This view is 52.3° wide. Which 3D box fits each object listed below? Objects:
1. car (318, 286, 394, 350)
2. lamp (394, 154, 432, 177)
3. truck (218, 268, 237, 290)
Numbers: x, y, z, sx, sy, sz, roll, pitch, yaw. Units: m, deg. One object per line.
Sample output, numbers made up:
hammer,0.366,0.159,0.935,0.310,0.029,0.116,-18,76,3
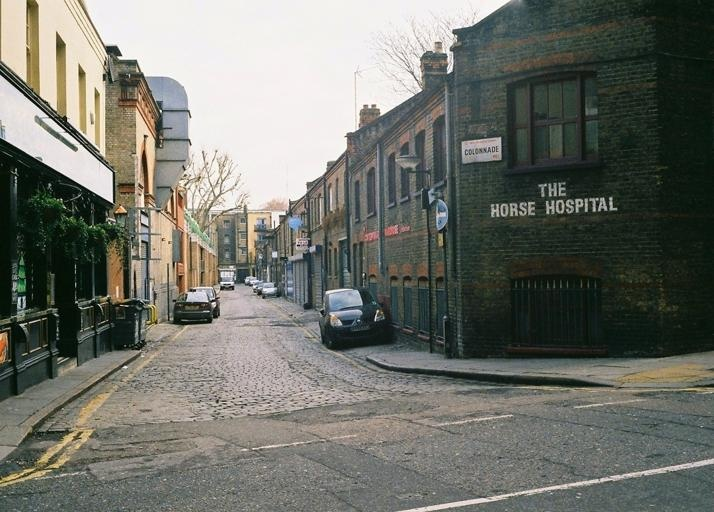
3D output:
car,-0.213,2.002,24.235,1.363,1.272,2.525,-4,-9,-8
lamp,1.614,-2.629,20.763,0.554,0.514,1.143,1,-2,26
truck,-18.821,3.239,105.181,1.963,3.096,5.772,-1,-8,-7
